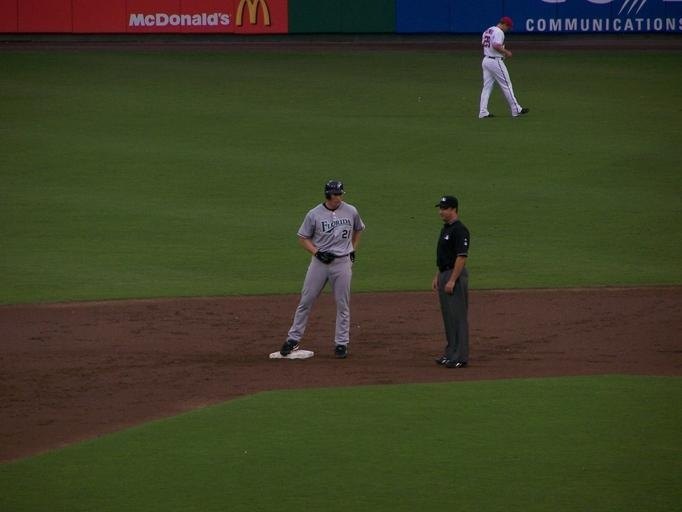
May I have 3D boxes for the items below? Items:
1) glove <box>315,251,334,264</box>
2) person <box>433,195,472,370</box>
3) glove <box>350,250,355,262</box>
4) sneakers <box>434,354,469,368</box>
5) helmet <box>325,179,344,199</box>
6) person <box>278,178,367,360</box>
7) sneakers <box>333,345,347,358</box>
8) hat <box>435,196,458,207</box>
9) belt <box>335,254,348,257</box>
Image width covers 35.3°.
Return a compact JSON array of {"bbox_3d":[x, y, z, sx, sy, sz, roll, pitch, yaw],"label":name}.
[{"bbox_3d":[-0.243,0.059,15.932,0.242,0.177,0.075,25,60,23],"label":"glove"},{"bbox_3d":[1.598,0.433,15.583,0.497,2.512,0.371,0,11,2],"label":"person"},{"bbox_3d":[0.174,0.023,16.174,0.109,0.133,0.116,-2,-19,-2],"label":"glove"},{"bbox_3d":[1.638,1.584,15.771,0.472,0.201,0.172,1,9,16],"label":"sneakers"},{"bbox_3d":[-0.111,-0.985,16.034,0.288,0.273,0.377,-4,-6,-18],"label":"helmet"},{"bbox_3d":[-0.286,0.231,16.209,1.248,2.656,0.676,-1,11,-1],"label":"person"},{"bbox_3d":[-0.006,1.497,16.211,0.204,0.190,0.467,0,1,1],"label":"sneakers"},{"bbox_3d":[1.522,-0.733,15.560,0.331,0.178,0.228,3,9,-2],"label":"hat"},{"bbox_3d":[0.007,0.036,16.002,0.210,0.047,0.012,-5,12,-23],"label":"belt"}]
